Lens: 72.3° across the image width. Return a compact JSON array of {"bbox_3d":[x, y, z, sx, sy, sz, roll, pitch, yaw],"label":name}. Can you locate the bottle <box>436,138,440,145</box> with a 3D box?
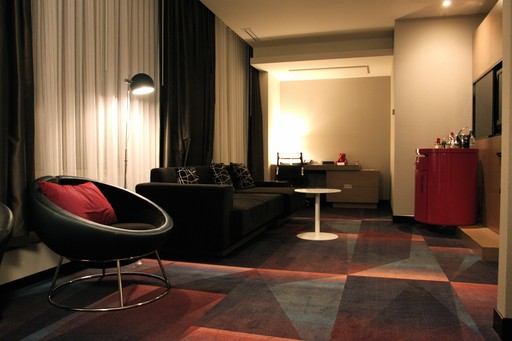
[{"bbox_3d":[2.823,-0.440,5.410,0.064,0.108,0.163,4,8,26],"label":"bottle"}]

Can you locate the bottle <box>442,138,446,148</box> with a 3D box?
[{"bbox_3d":[2.867,-0.399,5.329,0.058,0.106,0.202,4,8,28],"label":"bottle"}]

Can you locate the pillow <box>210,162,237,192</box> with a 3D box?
[{"bbox_3d":[-0.528,0.071,5.315,0.133,0.430,0.461,-27,-15,24],"label":"pillow"}]

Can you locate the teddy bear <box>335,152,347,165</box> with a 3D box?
[{"bbox_3d":[1.957,-0.260,7.975,0.241,0.258,0.399,2,7,15],"label":"teddy bear"}]

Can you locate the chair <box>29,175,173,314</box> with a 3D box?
[{"bbox_3d":[-1.449,0.608,3.309,1.197,1.062,1.109,0,1,9],"label":"chair"}]

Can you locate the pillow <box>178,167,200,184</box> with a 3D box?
[{"bbox_3d":[-0.906,0.070,4.548,0.228,0.220,0.066,-6,-7,-43],"label":"pillow"}]

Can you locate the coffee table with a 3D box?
[{"bbox_3d":[0.901,0.605,5.198,0.718,0.665,0.695,-1,1,-35],"label":"coffee table"}]
